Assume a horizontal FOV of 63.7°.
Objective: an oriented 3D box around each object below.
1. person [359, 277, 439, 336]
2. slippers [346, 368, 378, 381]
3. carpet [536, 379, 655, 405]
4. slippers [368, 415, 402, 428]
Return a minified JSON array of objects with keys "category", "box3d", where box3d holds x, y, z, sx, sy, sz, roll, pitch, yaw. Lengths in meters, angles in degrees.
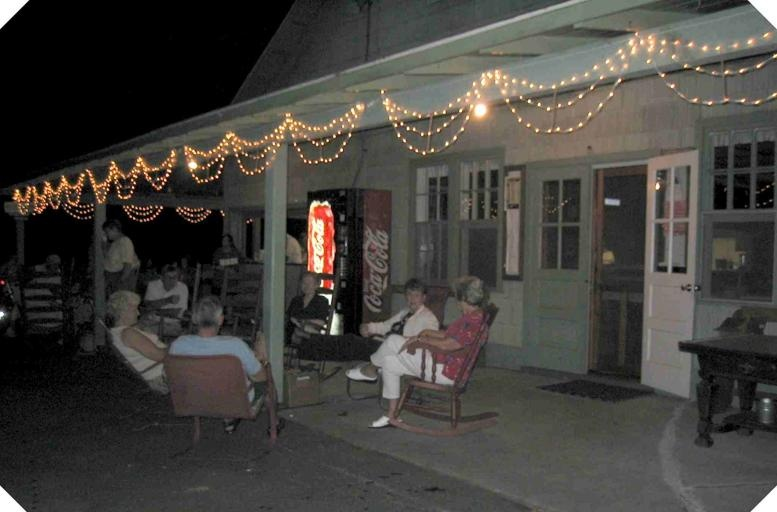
[{"category":"person","box3d":[0.283,0.695,7.923,0.458,0.661,0.880,-5,9,-38]},{"category":"slippers","box3d":[-0.346,1.472,7.698,0.290,0.115,0.172,4,-2,7]},{"category":"carpet","box3d":[2.823,1.829,8.524,1.372,0.104,0.924,7,12,37]},{"category":"slippers","box3d":[-0.042,1.932,7.236,0.397,0.176,0.153,1,-14,-8]}]
